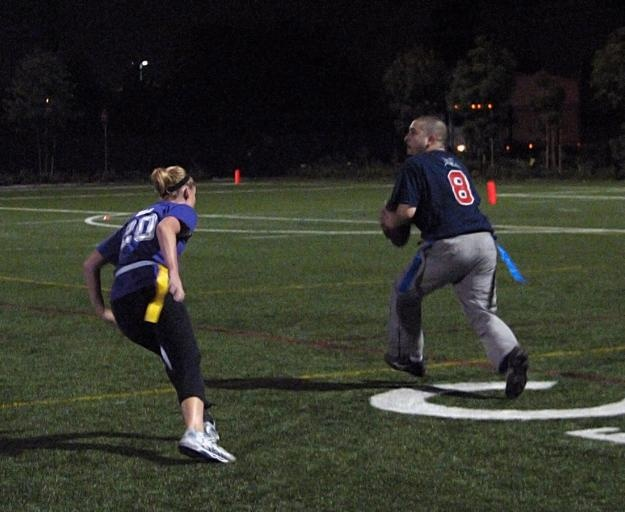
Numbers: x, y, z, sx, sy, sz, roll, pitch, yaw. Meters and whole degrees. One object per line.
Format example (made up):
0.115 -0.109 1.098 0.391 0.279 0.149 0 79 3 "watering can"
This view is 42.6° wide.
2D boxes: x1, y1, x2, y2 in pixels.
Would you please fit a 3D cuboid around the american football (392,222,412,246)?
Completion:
0.647 -0.151 5.846 0.132 0.152 0.164 -1 6 -20 "american football"

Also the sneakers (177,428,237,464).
-0.569 1.073 4.454 0.349 0.138 0.129 29 -48 -31 "sneakers"

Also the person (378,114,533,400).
0.960 0.103 5.675 0.949 1.717 0.591 -3 3 3 "person"

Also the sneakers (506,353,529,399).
1.395 0.805 5.499 0.147 0.364 0.202 -2 3 15 "sneakers"

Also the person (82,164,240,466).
-0.877 0.318 4.648 0.575 1.686 0.879 -5 3 -36 "person"

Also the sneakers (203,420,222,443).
-0.582 1.017 4.678 0.047 0.143 0.086 -25 -14 10 "sneakers"
